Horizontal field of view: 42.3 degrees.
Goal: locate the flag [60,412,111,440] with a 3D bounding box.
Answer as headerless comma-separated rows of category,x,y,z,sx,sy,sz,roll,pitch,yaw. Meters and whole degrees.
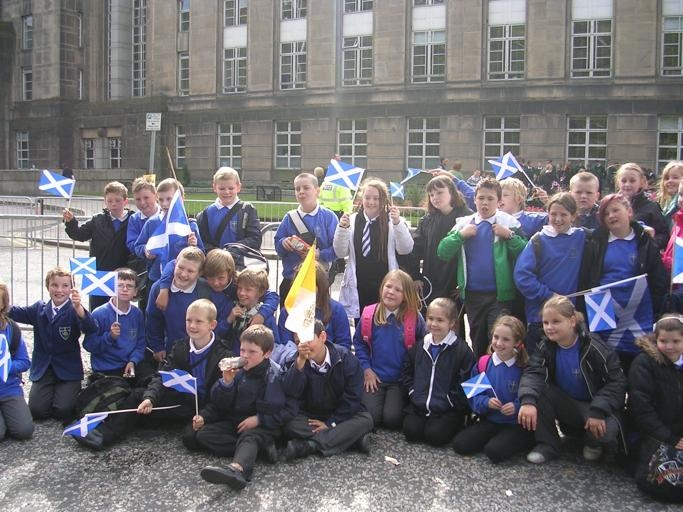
flag,-2.814,1.870,9.732,0.450,0.343,0.368,-2,7,-17

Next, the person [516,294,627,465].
person,2.525,1.377,9.714,1.123,1.769,0.568,2,6,13

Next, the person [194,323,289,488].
person,-1.143,1.587,9.615,1.052,1.454,1.760,5,14,7

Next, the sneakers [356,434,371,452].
sneakers,0.238,2.111,9.879,0.151,0.169,0.180,1,-22,-41

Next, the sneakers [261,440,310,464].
sneakers,-0.628,2.161,9.666,0.263,0.227,0.604,6,-5,-42

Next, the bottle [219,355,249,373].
bottle,-1.202,1.191,9.643,0.125,0.128,0.341,-3,-1,13

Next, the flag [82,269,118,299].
flag,-2.958,0.335,10.778,0.351,0.324,0.017,3,-3,-14

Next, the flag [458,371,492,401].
flag,1.516,1.502,10.044,0.259,0.238,0.025,-27,-21,11

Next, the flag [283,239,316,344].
flag,-0.434,0.413,9.128,0.296,1.065,0.389,0,6,-4

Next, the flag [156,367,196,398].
flag,-1.853,1.450,10.001,0.408,0.346,0.384,-1,7,-10

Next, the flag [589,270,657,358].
flag,3.197,0.701,10.032,0.836,1.002,0.106,-4,3,-2

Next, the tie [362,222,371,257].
tie,0.321,-0.223,11.546,0.118,0.442,0.110,1,6,13

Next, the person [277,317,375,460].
person,-0.238,1.439,9.996,1.207,1.496,1.176,4,11,43

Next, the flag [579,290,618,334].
flag,2.926,0.648,10.033,0.370,0.542,0.054,-13,-20,11

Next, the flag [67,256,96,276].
flag,-3.233,0.127,10.986,0.323,0.295,0.015,1,-43,-21

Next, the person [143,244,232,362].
person,-1.838,0.606,10.618,1.158,1.828,0.629,2,9,-10
